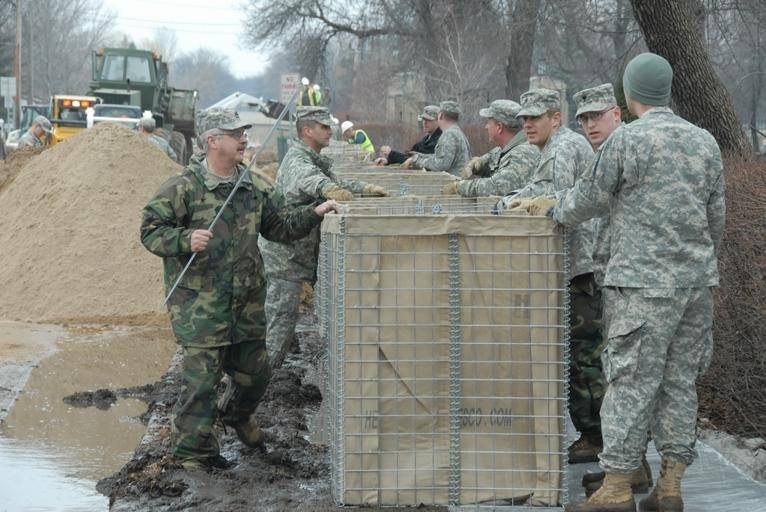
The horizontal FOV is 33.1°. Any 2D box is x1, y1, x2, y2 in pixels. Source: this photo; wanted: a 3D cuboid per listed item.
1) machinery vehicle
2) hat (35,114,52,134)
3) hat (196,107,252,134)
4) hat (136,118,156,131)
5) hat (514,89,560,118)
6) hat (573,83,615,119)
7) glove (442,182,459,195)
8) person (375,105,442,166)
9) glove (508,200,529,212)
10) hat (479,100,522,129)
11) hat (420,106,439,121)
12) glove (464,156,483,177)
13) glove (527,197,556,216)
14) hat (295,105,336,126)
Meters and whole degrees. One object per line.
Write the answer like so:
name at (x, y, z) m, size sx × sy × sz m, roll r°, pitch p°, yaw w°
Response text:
machinery vehicle at (-5.502, -3.560, 28.156) m, size 2.746 × 2.640 × 4.723 m, roll 2°, pitch 9°, yaw 6°
hat at (-6.532, -2.534, 24.857) m, size 0.401 × 0.210 × 0.280 m, roll 34°, pitch 3°, yaw -32°
hat at (-1.755, -1.478, 13.993) m, size 0.421 × 0.206 × 0.308 m, roll -4°, pitch 5°, yaw -4°
hat at (-4.195, -2.318, 22.759) m, size 0.243 × 0.173 × 0.321 m, roll -8°, pitch 25°, yaw -28°
hat at (1.765, -1.699, 14.331) m, size 0.375 × 0.205 × 0.288 m, roll -3°, pitch 6°, yaw -20°
hat at (2.382, -1.719, 14.105) m, size 0.418 × 0.239 × 0.312 m, roll -21°, pitch 15°, yaw -41°
glove at (0.832, -0.827, 15.635) m, size 0.164 × 0.159 × 0.130 m, roll 0°, pitch -1°, yaw -39°
person at (0.465, -1.746, 19.140) m, size 1.100 × 0.833 × 0.686 m, roll -1°, pitch 11°, yaw -14°
glove at (1.438, -0.538, 13.502) m, size 0.126 × 0.065 × 0.176 m, roll 0°, pitch 9°, yaw 42°
hat at (1.431, -1.715, 15.554) m, size 0.428 × 0.205 × 0.315 m, roll 21°, pitch 24°, yaw 8°
hat at (0.675, -2.081, 18.731) m, size 0.251 × 0.141 × 0.190 m, roll -2°, pitch 8°, yaw -42°
glove at (1.128, -1.102, 16.111) m, size 0.258 × 0.112 × 0.196 m, roll -39°, pitch -18°, yaw -21°
glove at (1.637, -0.523, 13.290) m, size 0.234 × 0.094 × 0.171 m, roll -33°, pitch 16°, yaw -35°
hat at (-0.814, -1.682, 15.334) m, size 0.361 × 0.141 × 0.256 m, roll 8°, pitch 10°, yaw 5°
